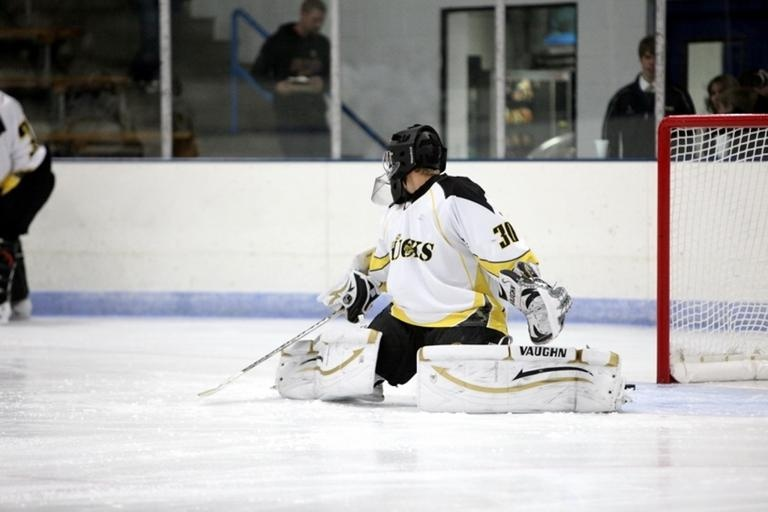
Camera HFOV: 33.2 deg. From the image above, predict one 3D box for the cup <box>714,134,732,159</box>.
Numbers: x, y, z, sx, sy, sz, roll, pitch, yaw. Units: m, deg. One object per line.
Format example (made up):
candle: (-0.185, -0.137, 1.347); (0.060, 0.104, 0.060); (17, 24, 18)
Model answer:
cup: (2.326, -0.747, 8.868); (0.124, 0.214, 0.057); (0, -6, 37)

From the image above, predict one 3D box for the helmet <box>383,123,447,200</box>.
helmet: (0.166, -0.505, 6.966); (0.391, 0.391, 0.316); (7, 8, 37)

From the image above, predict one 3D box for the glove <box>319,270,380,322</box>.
glove: (-0.145, 0.253, 7.004); (0.298, 0.261, 0.244); (-18, -18, 11)

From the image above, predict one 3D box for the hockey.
hockey: (-0.657, 0.570, 7.535); (0.710, 0.058, 0.135); (-31, -13, 11)

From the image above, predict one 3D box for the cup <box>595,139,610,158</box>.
cup: (1.579, -0.779, 9.436); (0.119, 0.135, 0.125); (8, -5, 1)

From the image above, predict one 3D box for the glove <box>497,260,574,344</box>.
glove: (0.816, 0.217, 6.667); (0.290, 0.464, 0.187); (-40, -13, 16)

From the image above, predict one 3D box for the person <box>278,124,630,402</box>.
person: (0.285, 0.043, 6.716); (1.668, 1.433, 0.509); (1, 5, 9)
